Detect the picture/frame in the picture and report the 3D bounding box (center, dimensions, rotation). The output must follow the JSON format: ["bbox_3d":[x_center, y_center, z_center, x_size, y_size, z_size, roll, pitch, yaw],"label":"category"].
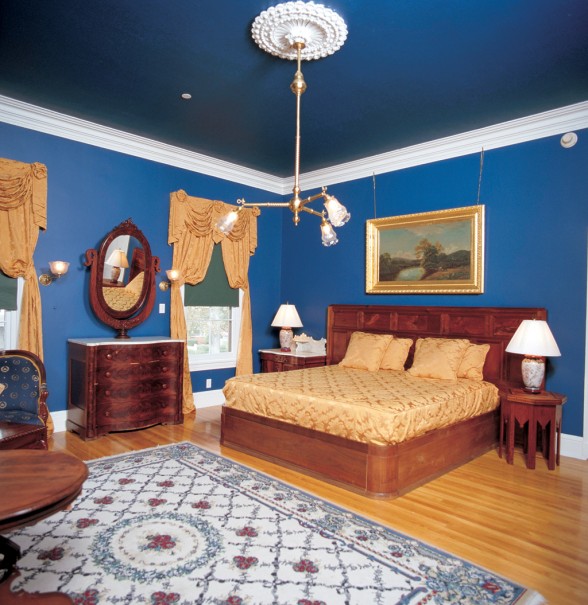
[{"bbox_3d":[1.560,-0.617,5.530,1.256,0.805,0.061,1,1,38],"label":"picture/frame"}]

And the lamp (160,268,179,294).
[{"bbox_3d":[-1.493,-0.264,5.787,0.287,0.262,0.215,6,6,27],"label":"lamp"}]

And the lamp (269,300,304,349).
[{"bbox_3d":[-0.090,0.369,6.670,0.445,0.600,0.445,1,0,-36],"label":"lamp"}]

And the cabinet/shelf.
[{"bbox_3d":[-1.802,0.876,5.190,1.049,0.927,0.581,2,-1,-42],"label":"cabinet/shelf"}]

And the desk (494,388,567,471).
[{"bbox_3d":[2.118,1.152,4.357,0.517,0.592,0.525,3,-1,28],"label":"desk"}]

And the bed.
[{"bbox_3d":[0.947,0.940,4.410,1.926,1.048,1.989,1,0,-42],"label":"bed"}]

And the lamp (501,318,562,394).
[{"bbox_3d":[2.146,0.487,4.352,0.409,0.610,0.506,1,1,23],"label":"lamp"}]

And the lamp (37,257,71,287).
[{"bbox_3d":[-2.402,-0.302,4.927,0.312,0.346,0.215,17,4,30],"label":"lamp"}]

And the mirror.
[{"bbox_3d":[-1.875,-0.260,5.327,0.222,1.281,0.827,2,1,32],"label":"mirror"}]
